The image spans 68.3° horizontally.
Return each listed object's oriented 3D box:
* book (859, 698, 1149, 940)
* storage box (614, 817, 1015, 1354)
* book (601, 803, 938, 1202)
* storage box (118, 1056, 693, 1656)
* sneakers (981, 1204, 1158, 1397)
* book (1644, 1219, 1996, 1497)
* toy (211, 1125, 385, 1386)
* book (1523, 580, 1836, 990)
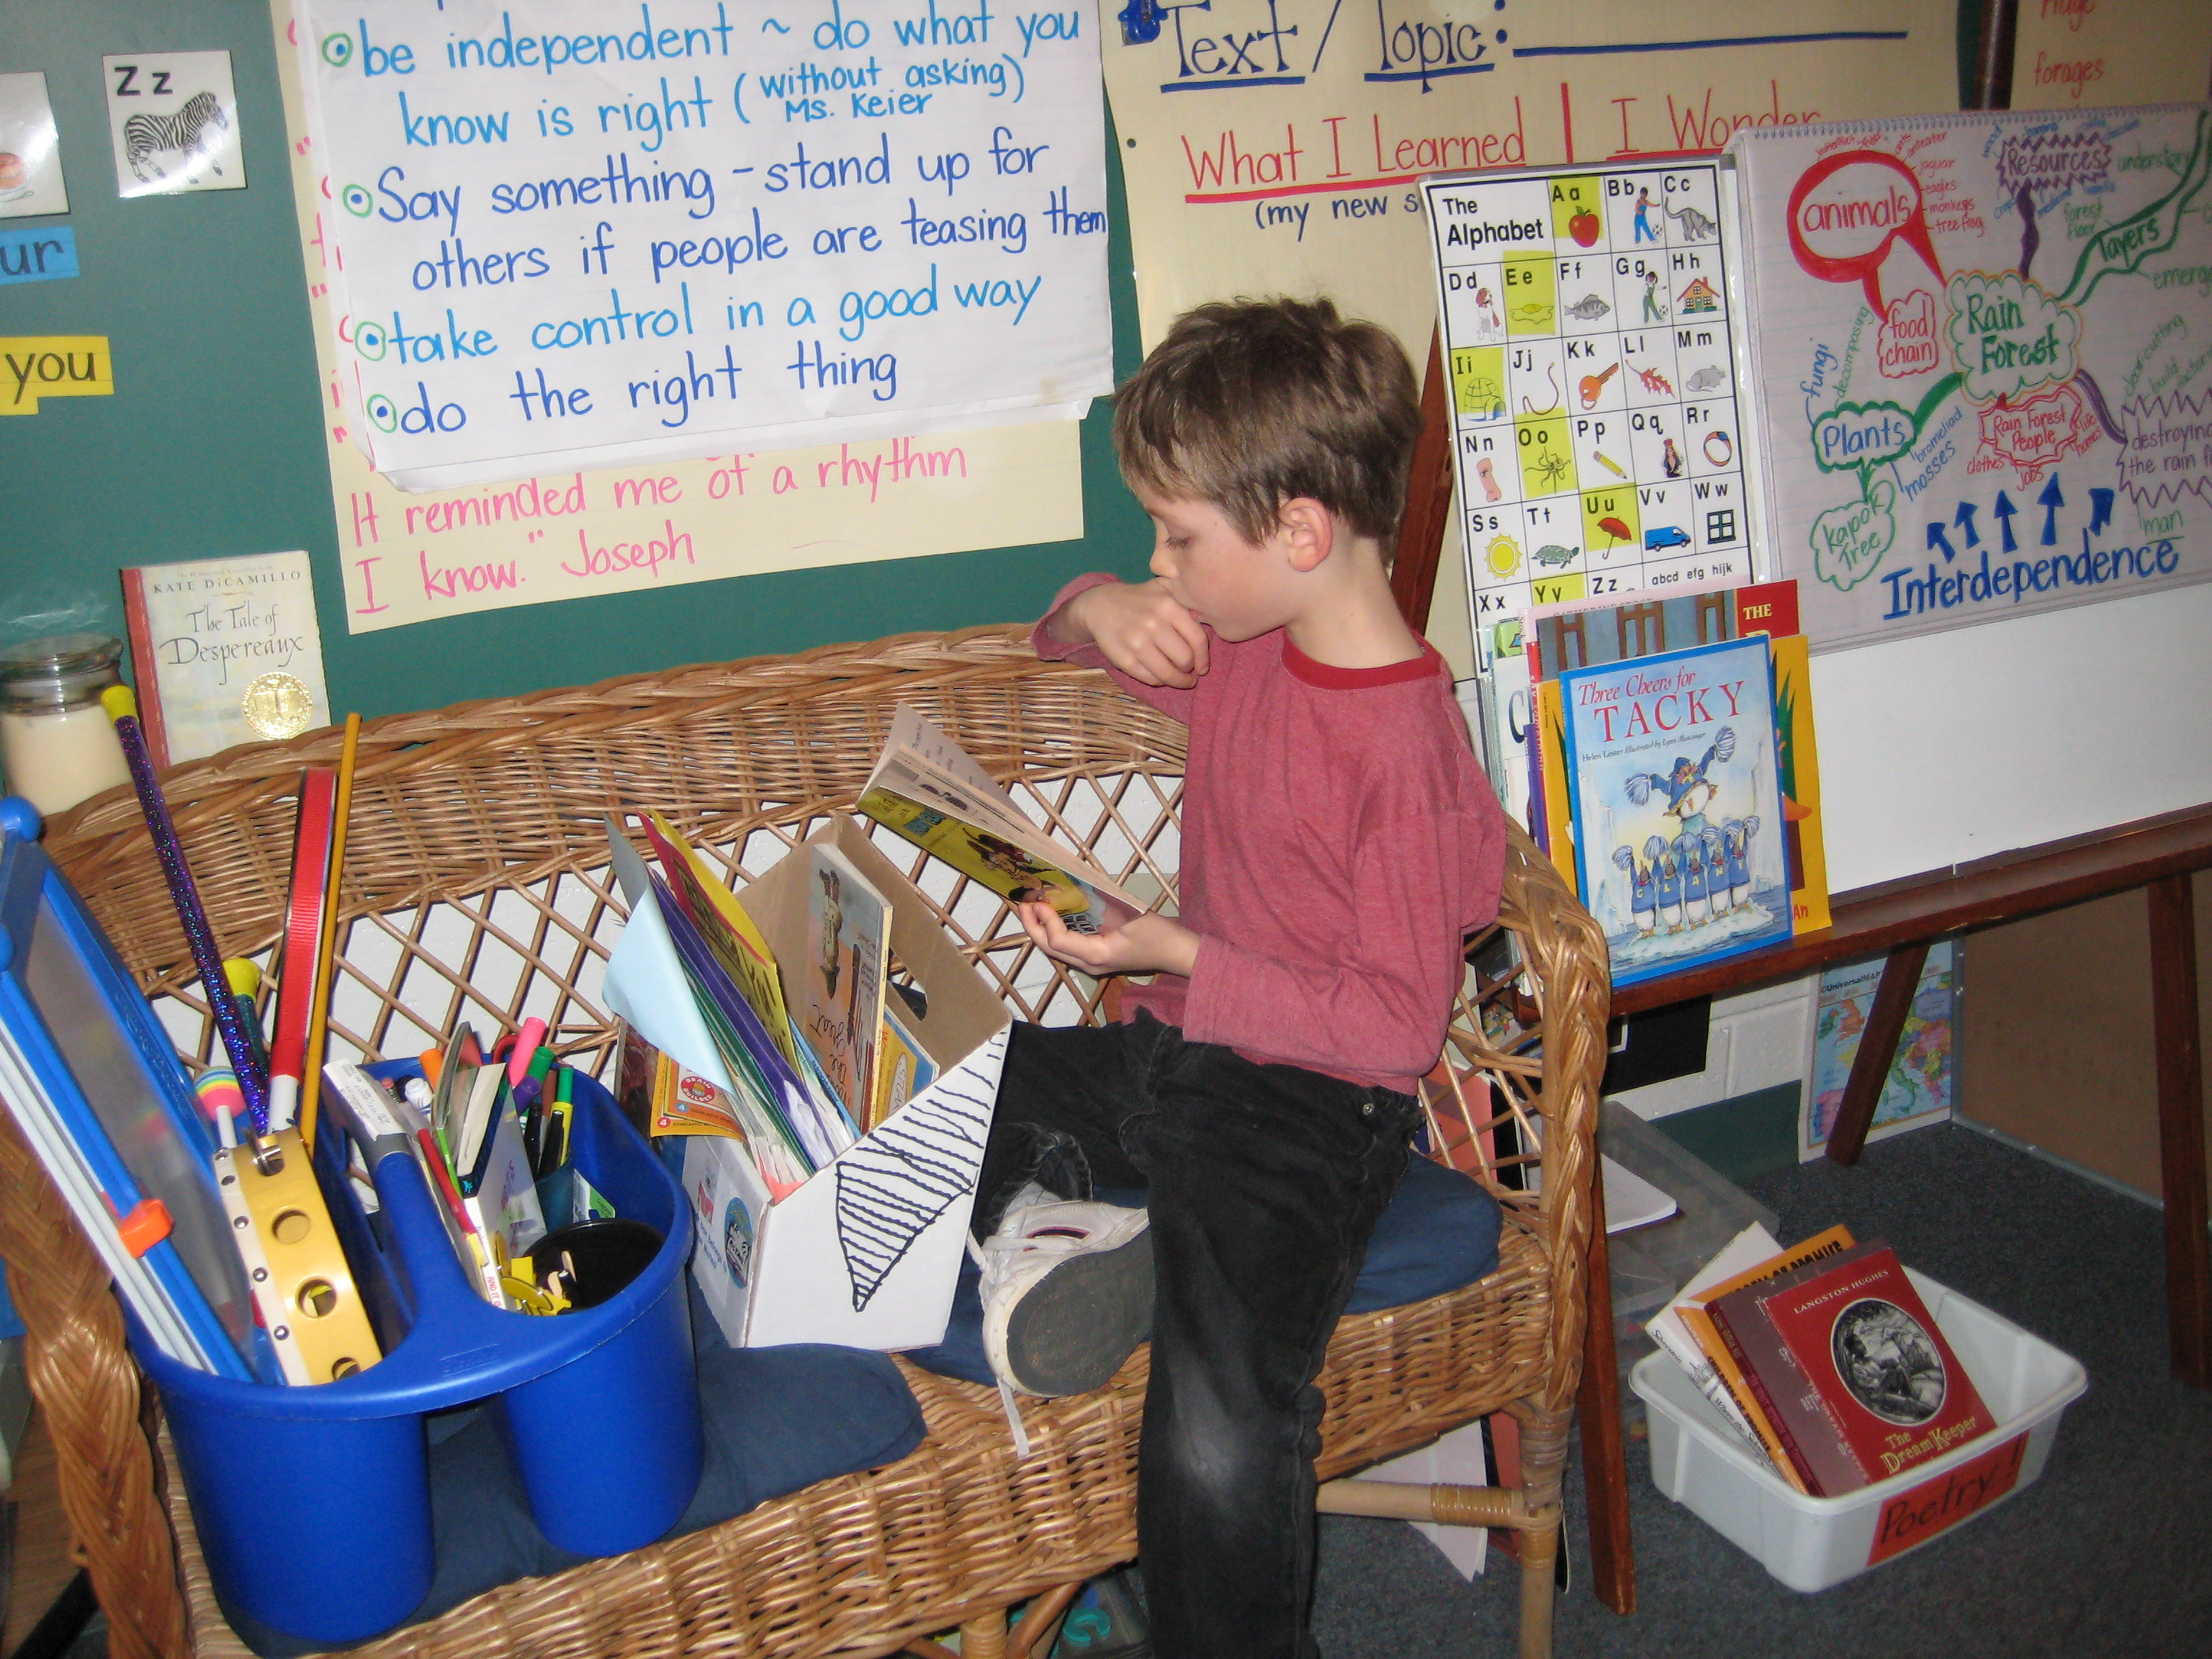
[{"bbox_3d":[-0.108,-0.019,1.641,0.264,0.093,0.199,36,2,-33],"label":"book"},{"bbox_3d":[-0.323,0.364,1.622,0.309,0.471,0.618,-3,39,-23],"label":"storage box"},{"bbox_3d":[-0.270,0.192,1.393,0.093,0.341,0.239,-19,38,-16],"label":"book"},{"bbox_3d":[-0.510,0.384,1.256,0.391,0.339,0.272,-21,23,-32],"label":"storage box"},{"bbox_3d":[-0.035,0.391,1.446,0.155,0.118,0.199,-10,20,-5],"label":"sneakers"},{"bbox_3d":[0.818,0.595,1.837,0.290,0.173,0.211,-16,21,-19],"label":"book"},{"bbox_3d":[-0.579,0.304,1.163,0.058,0.148,0.104,-20,22,-34],"label":"toy"},{"bbox_3d":[0.604,-0.050,1.767,0.335,0.447,0.054,-9,3,-21],"label":"book"}]
